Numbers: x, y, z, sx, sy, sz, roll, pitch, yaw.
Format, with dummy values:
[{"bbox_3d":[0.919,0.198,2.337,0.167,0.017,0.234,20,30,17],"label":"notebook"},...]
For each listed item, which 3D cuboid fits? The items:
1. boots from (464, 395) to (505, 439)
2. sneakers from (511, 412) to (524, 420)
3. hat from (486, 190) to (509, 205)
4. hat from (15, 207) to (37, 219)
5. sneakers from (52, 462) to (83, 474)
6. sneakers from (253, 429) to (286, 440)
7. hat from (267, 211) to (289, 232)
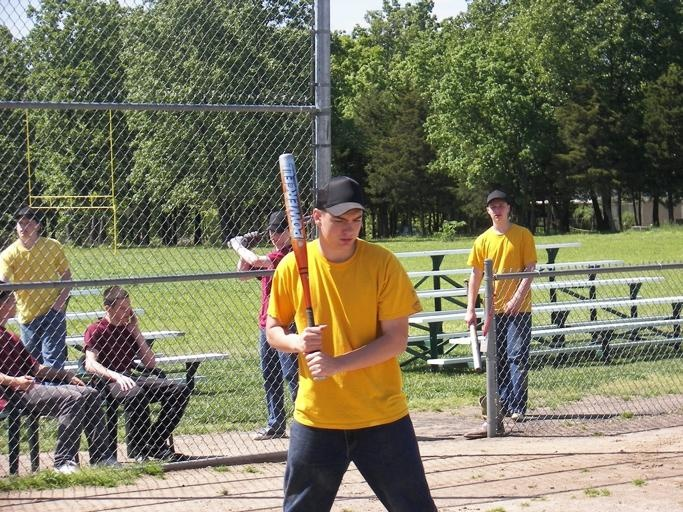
[{"bbox_3d":[1.825,2.033,13.865,0.172,0.413,0.410,-1,31,28],"label":"boots"},{"bbox_3d":[2.316,2.122,14.042,0.163,0.108,0.048,-1,0,-13],"label":"sneakers"},{"bbox_3d":[2.077,-0.812,14.421,0.264,0.230,0.401,-1,-6,4],"label":"hat"},{"bbox_3d":[-4.162,-0.554,14.127,0.255,0.129,0.271,-1,-1,-18],"label":"hat"},{"bbox_3d":[-3.209,2.475,12.515,0.278,0.111,0.287,-1,-1,-17],"label":"sneakers"},{"bbox_3d":[-0.905,2.280,13.623,0.424,0.193,0.165,6,-3,-2],"label":"sneakers"},{"bbox_3d":[-0.799,-0.412,13.606,0.211,0.163,0.302,3,2,5],"label":"hat"}]
